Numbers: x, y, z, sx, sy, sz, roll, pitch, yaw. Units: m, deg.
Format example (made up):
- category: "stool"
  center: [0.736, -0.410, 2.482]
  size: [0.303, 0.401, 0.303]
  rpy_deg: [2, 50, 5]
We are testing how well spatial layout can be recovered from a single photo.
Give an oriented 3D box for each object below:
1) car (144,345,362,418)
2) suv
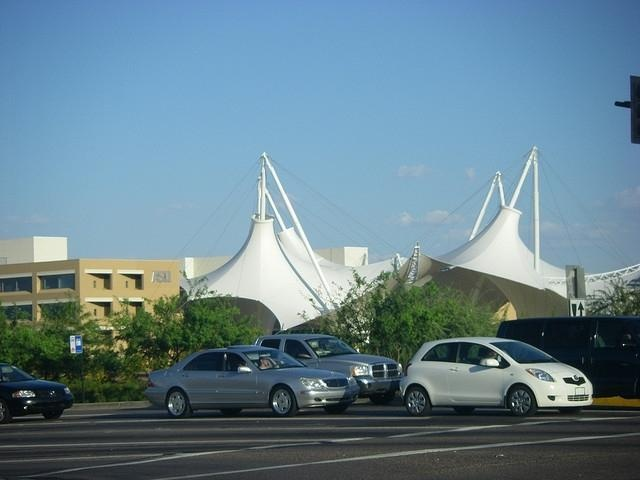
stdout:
- category: "car"
  center: [-1.918, 3.794, 24.789]
  size: [5.417, 1.929, 1.072]
  rpy_deg: [-9, -9, 23]
- category: "suv"
  center: [0.421, 3.548, 27.386]
  size: [3.920, 1.641, 1.965]
  rpy_deg: [-2, -3, 37]
